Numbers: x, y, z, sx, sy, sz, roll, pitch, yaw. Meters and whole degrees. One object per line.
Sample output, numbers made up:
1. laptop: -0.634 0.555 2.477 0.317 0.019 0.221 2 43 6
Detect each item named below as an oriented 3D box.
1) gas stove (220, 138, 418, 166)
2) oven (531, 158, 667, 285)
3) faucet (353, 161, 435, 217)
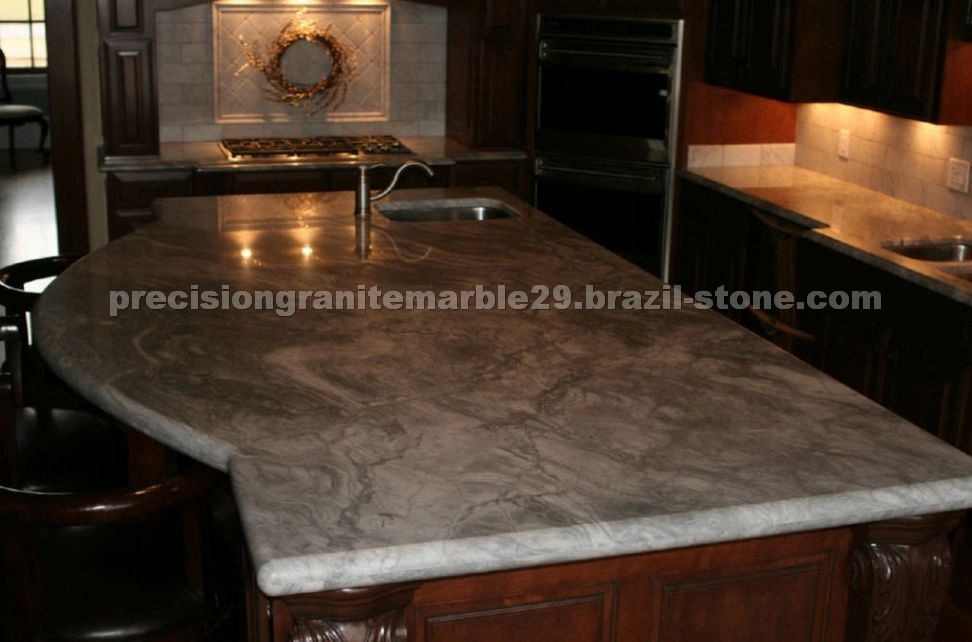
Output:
1. gas stove: -1.186 -1.205 5.511 1.261 0.176 0.852 -5 14 -11
2. oven: 1.038 -0.868 5.658 1.038 0.880 0.648 16 37 40
3. faucet: -0.410 -0.610 3.598 0.440 0.236 0.098 6 17 30
